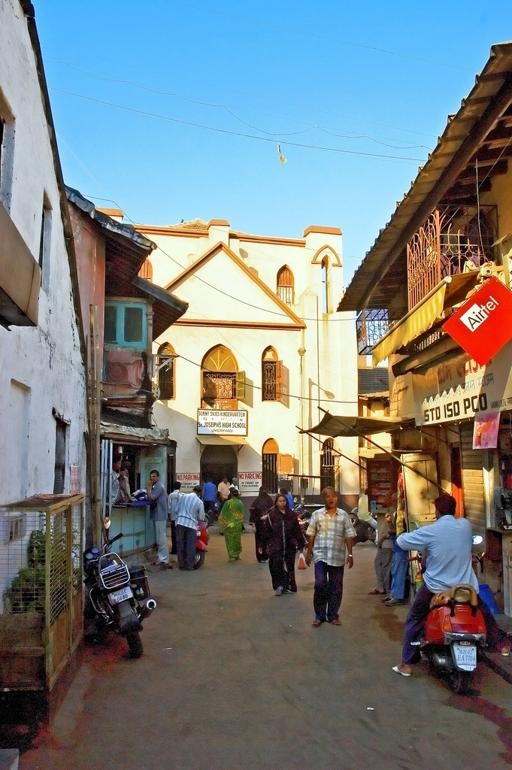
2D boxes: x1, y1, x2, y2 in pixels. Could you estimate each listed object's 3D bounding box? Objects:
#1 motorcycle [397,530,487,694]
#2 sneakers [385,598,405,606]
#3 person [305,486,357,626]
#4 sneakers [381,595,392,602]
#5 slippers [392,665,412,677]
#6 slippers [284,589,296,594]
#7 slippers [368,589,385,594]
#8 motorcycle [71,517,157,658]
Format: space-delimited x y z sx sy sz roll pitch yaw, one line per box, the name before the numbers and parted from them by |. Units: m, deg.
motorcycle | 1.510 1.753 4.607 0.566 1.026 1.435 1 -3 3
sneakers | 1.991 3.143 8.236 0.256 0.129 0.097 4 -8 -8
person | 0.950 2.175 7.293 0.632 1.655 0.683 1 -8 -10
sneakers | 1.889 3.158 8.398 0.181 0.085 0.080 -7 -15 33
slippers | 1.245 2.486 4.934 0.049 0.054 0.138 1 6 -34
slippers | 0.558 3.360 9.282 0.177 0.049 0.134 1 -8 -4
slippers | 1.932 3.340 9.149 0.187 0.067 0.103 4 -15 -5
motorcycle | -1.500 2.285 6.203 0.716 1.087 1.711 2 -8 -16
